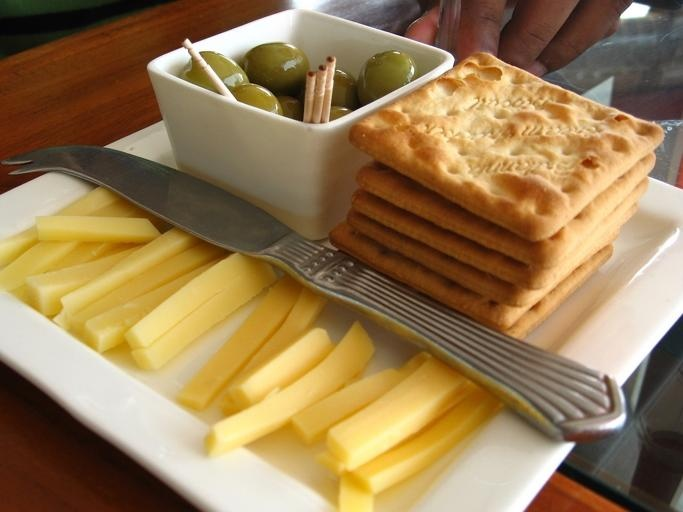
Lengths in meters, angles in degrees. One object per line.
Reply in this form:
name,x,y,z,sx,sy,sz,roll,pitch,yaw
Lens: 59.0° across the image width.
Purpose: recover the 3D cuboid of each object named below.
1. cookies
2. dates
cookies,0.275,-0.141,0.915,0.315,0.324,0.472,-22,30,-39
dates,-0.073,-0.270,0.941,0.248,0.086,0.317,-14,22,-39
